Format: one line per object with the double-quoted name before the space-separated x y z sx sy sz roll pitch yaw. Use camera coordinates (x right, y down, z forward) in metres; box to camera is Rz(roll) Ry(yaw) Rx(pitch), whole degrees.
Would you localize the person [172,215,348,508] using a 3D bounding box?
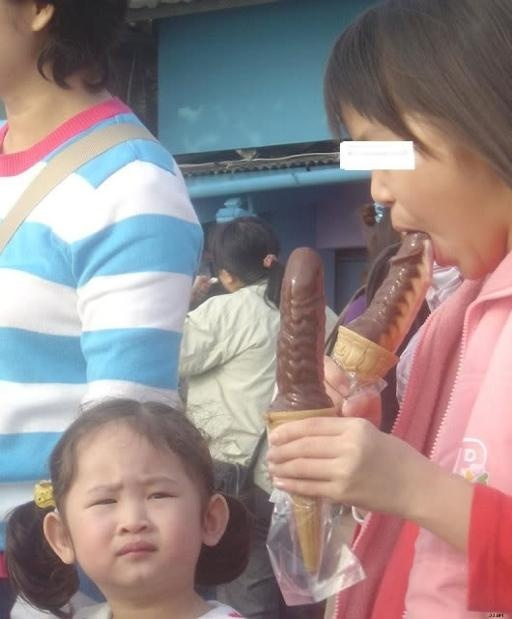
"person" -0.080 0.142 2.755 0.842 1.075 0.235 0 15 33
